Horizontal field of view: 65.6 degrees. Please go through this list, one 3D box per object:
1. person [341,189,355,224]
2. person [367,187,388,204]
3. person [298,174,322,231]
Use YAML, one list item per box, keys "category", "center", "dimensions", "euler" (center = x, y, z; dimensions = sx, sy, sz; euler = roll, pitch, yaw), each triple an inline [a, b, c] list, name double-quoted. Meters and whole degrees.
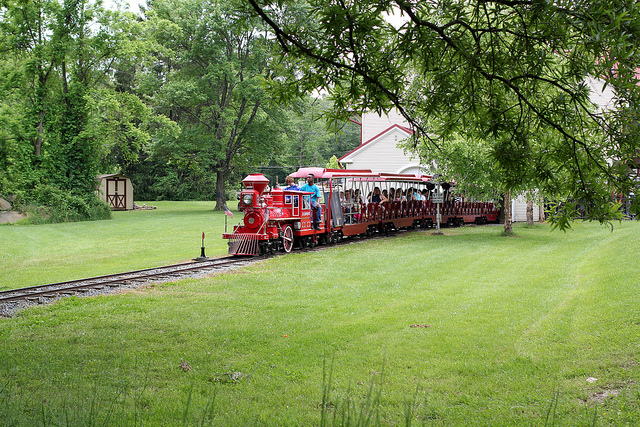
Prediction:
- category: "person"
  center: [1.432, -0.371, 24.636]
  dimensions: [0.201, 1.709, 0.912]
  euler: [0, 1, 27]
- category: "person"
  center: [3.183, -0.991, 27.461]
  dimensions: [0.663, 1.172, 0.353]
  euler: [5, -15, -2]
- category: "person"
  center: [-0.316, -0.513, 21.947]
  dimensions: [0.516, 2.412, 1.180]
  euler: [0, 1, 33]
